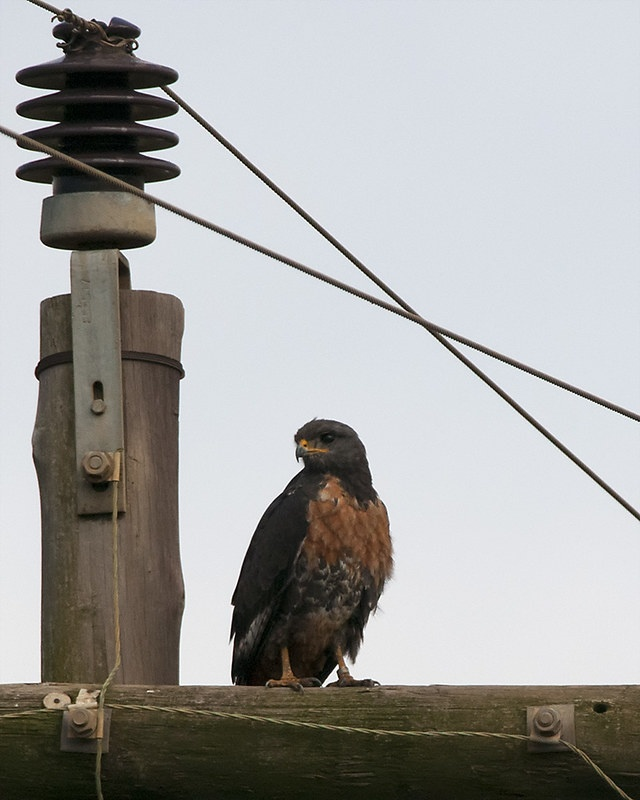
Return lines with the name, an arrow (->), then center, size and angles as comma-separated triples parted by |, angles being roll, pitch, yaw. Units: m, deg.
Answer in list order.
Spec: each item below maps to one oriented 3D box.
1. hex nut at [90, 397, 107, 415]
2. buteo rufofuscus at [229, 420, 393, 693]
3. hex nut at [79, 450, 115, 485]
hex nut -> -0.732, 0.025, 8.081 | 0.051, 0.046, 0.030 | 0, -45, -8
buteo rufofuscus -> -0.051, 0.613, 9.427 | 0.476, 1.091, 0.631 | 9, -18, -32
hex nut -> -0.730, 0.216, 8.000 | 0.112, 0.093, 0.125 | 1, -86, -1
